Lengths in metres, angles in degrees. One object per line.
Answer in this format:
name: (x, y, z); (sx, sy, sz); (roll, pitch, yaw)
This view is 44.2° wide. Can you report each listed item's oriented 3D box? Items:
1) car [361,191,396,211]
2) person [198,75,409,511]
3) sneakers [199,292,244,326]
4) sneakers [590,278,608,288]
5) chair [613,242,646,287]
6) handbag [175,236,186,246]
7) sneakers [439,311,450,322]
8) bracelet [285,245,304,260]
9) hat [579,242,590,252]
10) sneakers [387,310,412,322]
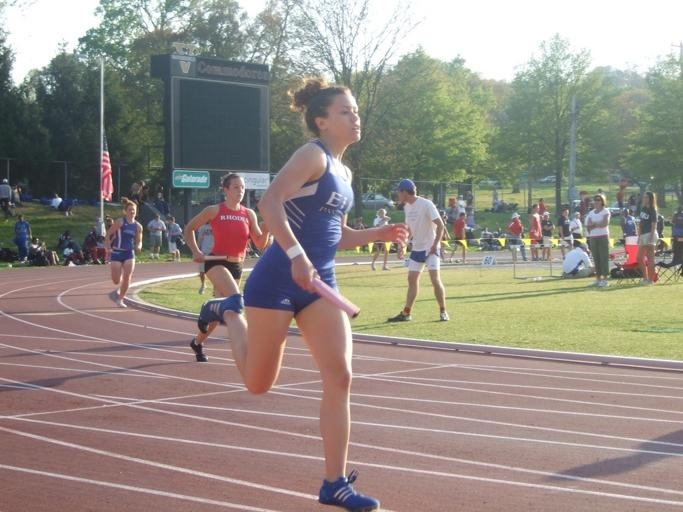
car: (2.684, -4.116, 62.873); (2.673, 1.191, 1.443); (-3, 5, 0)
person: (-0.315, 0.244, 6.726); (1.072, 3.325, 1.300); (-1, 1, -8)
sneakers: (-1.135, 0.499, 7.952); (0.241, 0.260, 0.682); (6, -12, -29)
sneakers: (5.930, 0.625, 19.281); (0.207, 0.205, 0.507); (1, -2, 7)
chair: (6.894, 0.220, 20.120); (0.820, 1.257, 0.948); (3, -7, 31)
handbag: (-6.780, -0.638, 35.329); (0.332, 0.292, 0.335); (-3, 7, 36)
sneakers: (1.732, 0.988, 14.030); (0.090, 0.171, 0.275); (4, 10, 38)
bracelet: (-0.353, -0.029, 6.265); (0.122, 0.085, 0.115); (-24, -1, -11)
hat: (6.958, -0.267, 23.994); (0.301, 0.138, 0.390); (16, 1, -2)
sneakers: (0.983, 1.017, 13.999); (0.442, 0.169, 0.154); (0, -2, -2)
